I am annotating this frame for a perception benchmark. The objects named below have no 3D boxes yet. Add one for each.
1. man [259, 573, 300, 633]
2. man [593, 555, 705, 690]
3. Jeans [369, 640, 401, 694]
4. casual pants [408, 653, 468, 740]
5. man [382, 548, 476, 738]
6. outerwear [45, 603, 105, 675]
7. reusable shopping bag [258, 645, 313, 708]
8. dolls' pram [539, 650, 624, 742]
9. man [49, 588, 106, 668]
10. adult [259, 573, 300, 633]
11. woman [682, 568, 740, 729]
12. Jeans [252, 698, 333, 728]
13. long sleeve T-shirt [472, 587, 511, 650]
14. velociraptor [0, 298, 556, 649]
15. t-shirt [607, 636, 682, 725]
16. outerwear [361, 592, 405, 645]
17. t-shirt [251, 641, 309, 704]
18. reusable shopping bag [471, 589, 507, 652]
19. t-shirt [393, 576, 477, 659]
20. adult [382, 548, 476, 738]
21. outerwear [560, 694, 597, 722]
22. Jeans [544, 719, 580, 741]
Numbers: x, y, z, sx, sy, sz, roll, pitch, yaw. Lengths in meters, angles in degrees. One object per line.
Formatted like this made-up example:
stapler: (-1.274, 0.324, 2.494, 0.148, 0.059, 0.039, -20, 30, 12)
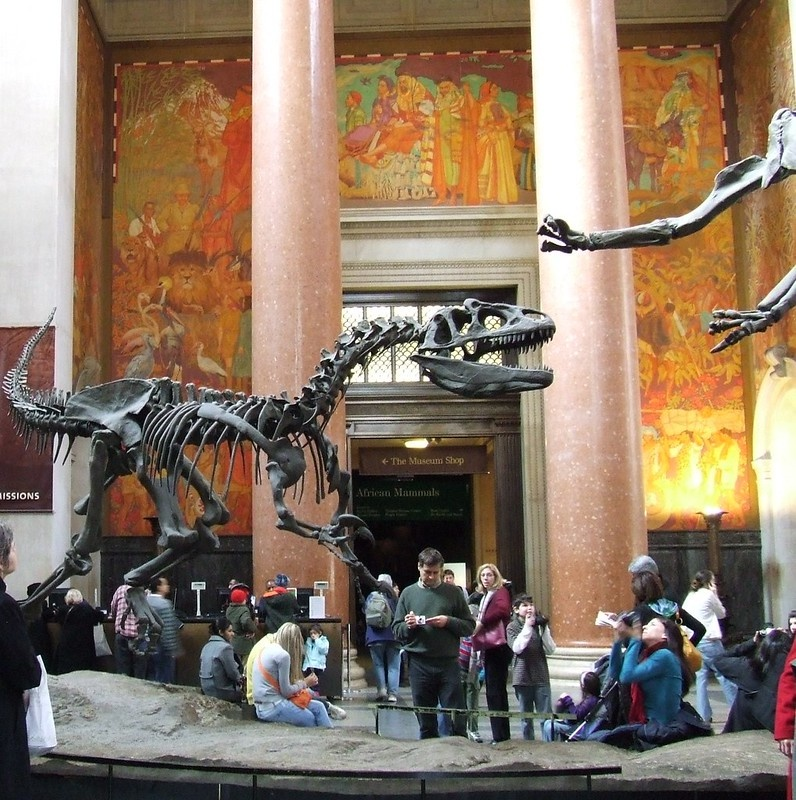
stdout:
man: (-0.966, 1.726, 10.389, 0.283, 0.767, 0.297, 1, 33, -7)
man: (1.491, 1.491, 7.474, 0.660, 1.094, 0.257, -2, 3, -12)
Jeans: (-0.106, 2.270, 11.049, 0.266, 0.600, 0.203, 4, -17, -10)
casual pants: (0.236, 1.829, 7.990, 0.353, 0.491, 0.757, 0, -4, 0)
man: (0.204, 1.628, 8.078, 0.422, 1.388, 0.442, -1, 6, 14)
outerwear: (-2.602, 2.003, 10.503, 0.390, 0.821, 0.207, 3, -42, -21)
reusable shopping bag: (-0.756, 1.700, 8.039, 0.368, 0.453, 0.309, 0, -1, -24)
dolls' pram: (1.151, 2.017, 8.067, 0.410, 0.732, 0.258, 8, -9, 0)
man: (-2.598, 1.918, 10.551, 0.425, 0.911, 0.249, 2, 35, -11)
adult: (-0.974, 1.758, 10.356, 0.285, 0.778, 0.301, 1, 23, -8)
woman: (2.387, 1.924, 9.814, 0.328, 1.170, 0.365, -11, -9, 22)
Jeans: (-0.640, 1.968, 8.044, 0.335, 0.125, 0.258, 4, -8, -16)
long sleeve T-shirt: (0.606, 1.447, 8.436, 0.227, 0.464, 0.359, 9, -16, -17)
velociraptor: (-0.972, 0.528, 8.517, 3.943, 2.165, 0.633, -2, -5, 22)
t-shirt: (1.405, 1.571, 7.321, 0.342, 0.532, 0.316, 0, 9, -11)
outerwear: (-0.099, 1.798, 10.431, 0.304, 0.501, 0.304, -2, -9, 20)
t-shirt: (-0.758, 1.692, 8.005, 0.358, 0.411, 0.355, 2, -1, -45)
reusable shopping bag: (0.593, 1.445, 8.433, 0.197, 0.423, 0.326, 7, -16, -25)
t-shirt: (0.226, 1.389, 8.078, 0.515, 0.468, 0.284, 0, -4, 0)
adult: (0.212, 1.632, 8.075, 0.450, 1.399, 0.458, -2, 5, 8)
outerwear: (1.117, 1.949, 8.051, 0.231, 0.106, 0.194, -4, -9, 16)
Jeans: (1.039, 2.109, 8.210, 0.245, 0.172, 0.096, -2, 12, 10)
